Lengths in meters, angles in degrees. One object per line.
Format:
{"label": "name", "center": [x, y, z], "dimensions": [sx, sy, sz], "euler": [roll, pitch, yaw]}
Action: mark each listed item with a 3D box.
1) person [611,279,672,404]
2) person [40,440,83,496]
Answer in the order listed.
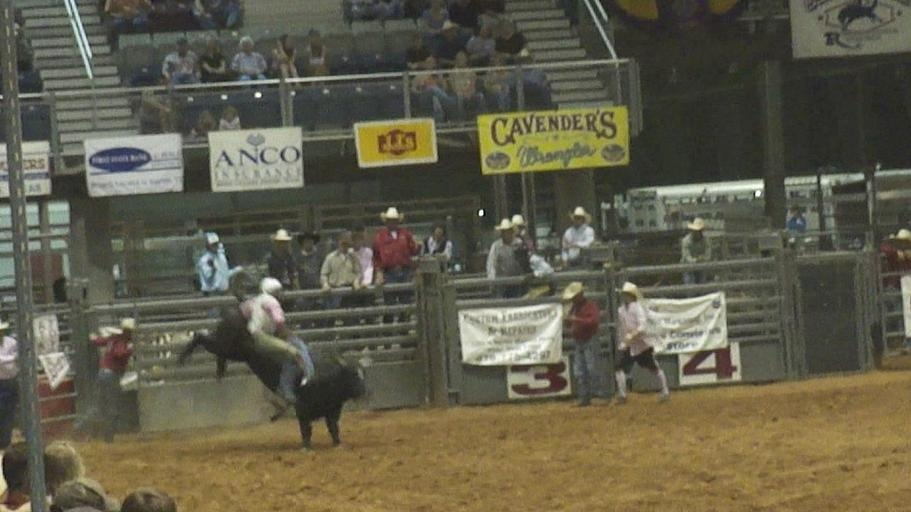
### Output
{"label": "person", "center": [5.005, 2.409, 51.866], "dimensions": [1.425, 3.144, 0.982], "euler": [-7, 1, -1]}
{"label": "person", "center": [-9.565, 5.150, 45.573], "dimensions": [0.979, 1.408, 0.708], "euler": [3, -3, 4]}
